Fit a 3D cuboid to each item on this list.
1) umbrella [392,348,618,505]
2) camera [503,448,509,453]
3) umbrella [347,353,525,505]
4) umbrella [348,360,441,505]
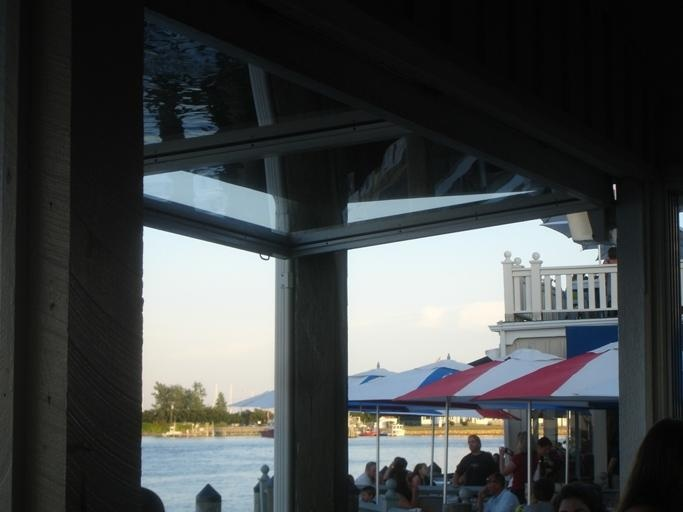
[{"bbox_3d":[1.273,0.950,8.115,1.188,0.811,1.210,-3,-15,12],"label":"umbrella"},{"bbox_3d":[1.472,1.722,11.175,0.053,0.030,0.038,-5,-8,42],"label":"camera"},{"bbox_3d":[0.718,1.264,9.770,1.372,0.949,1.382,0,-16,-1],"label":"umbrella"},{"bbox_3d":[0.603,1.525,10.971,1.168,1.032,1.163,3,-14,-8],"label":"umbrella"}]
